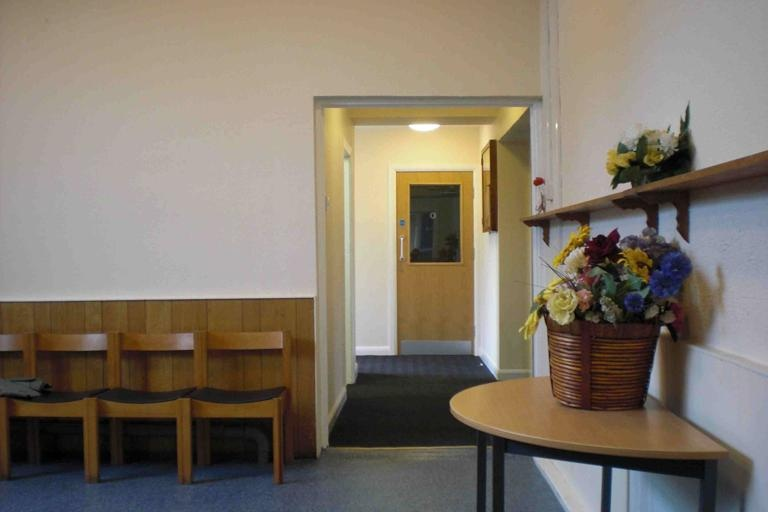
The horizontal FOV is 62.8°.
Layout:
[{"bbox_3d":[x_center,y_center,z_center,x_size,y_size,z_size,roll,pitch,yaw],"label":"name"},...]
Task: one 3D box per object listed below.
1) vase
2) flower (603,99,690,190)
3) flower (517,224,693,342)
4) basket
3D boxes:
[{"bbox_3d":[0.976,0.449,2.809,0.430,0.306,0.397,0,-3,15],"label":"vase"},{"bbox_3d":[1.220,-0.507,2.911,0.326,0.381,0.210,0,9,1],"label":"flower"},{"bbox_3d":[1.098,0.164,2.995,0.581,0.599,0.448,2,-39,21],"label":"flower"},{"bbox_3d":[0.957,0.443,2.773,0.427,0.319,0.399,0,-3,15],"label":"basket"}]
